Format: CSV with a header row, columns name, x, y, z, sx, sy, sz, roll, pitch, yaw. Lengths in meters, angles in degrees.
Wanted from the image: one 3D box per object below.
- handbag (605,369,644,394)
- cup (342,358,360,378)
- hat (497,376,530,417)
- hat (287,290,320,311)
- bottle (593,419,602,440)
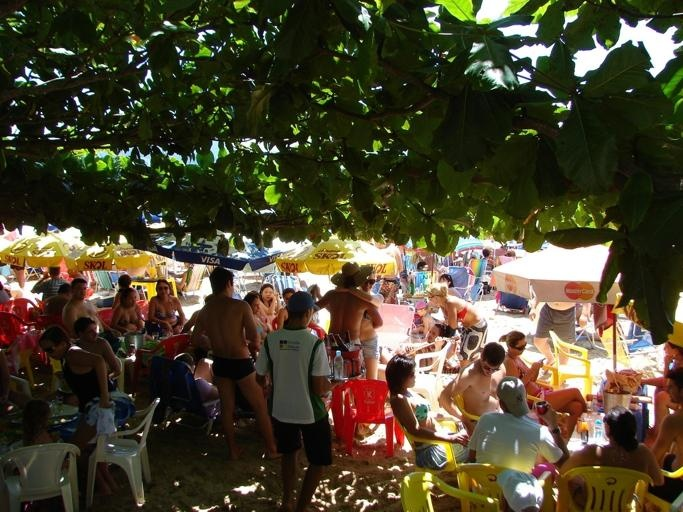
name,x,y,z,sx,sy,sz,roll,pitch,yaw
handbag,3.559,1.551,5.950,0.390,0.270,0.320,2,-4,-21
cup,0.145,1.560,6.576,0.289,0.267,0.284,1,4,0
hat,1.534,1.255,4.196,0.256,0.346,0.249,7,8,29
hat,-0.393,0.447,4.739,0.262,0.224,0.295,1,7,-8
bottle,2.904,1.923,5.298,0.112,0.181,0.220,6,8,26
